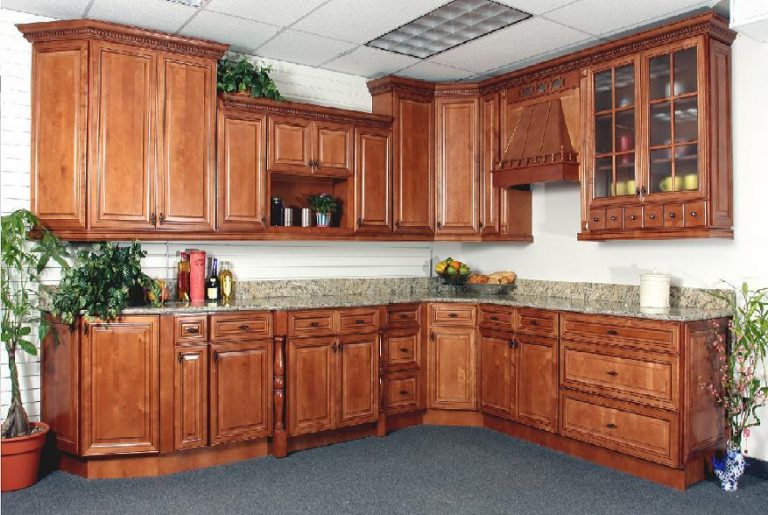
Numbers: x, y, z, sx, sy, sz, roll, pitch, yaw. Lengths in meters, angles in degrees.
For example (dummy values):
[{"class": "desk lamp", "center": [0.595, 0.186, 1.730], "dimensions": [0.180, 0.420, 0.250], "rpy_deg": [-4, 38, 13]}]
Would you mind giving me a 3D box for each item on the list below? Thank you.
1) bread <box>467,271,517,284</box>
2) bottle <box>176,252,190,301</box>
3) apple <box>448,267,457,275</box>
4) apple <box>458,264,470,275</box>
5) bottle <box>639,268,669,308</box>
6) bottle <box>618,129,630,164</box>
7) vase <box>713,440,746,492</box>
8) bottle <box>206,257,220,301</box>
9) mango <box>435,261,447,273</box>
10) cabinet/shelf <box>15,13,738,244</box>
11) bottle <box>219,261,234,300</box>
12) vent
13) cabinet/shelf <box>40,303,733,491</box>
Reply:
[{"class": "bread", "center": [1.227, 0.229, 6.511], "dimensions": [0.543, 0.128, 0.363], "rpy_deg": [1, 8, 6]}, {"class": "bottle", "center": [-1.936, 0.175, 5.539], "dimensions": [0.129, 0.445, 0.255], "rpy_deg": [-3, 9, -19]}, {"class": "apple", "center": [0.772, 0.149, 6.491], "dimensions": [0.090, 0.096, 0.101], "rpy_deg": [4, 3, 28]}, {"class": "apple", "center": [0.925, 0.137, 6.580], "dimensions": [0.085, 0.127, 0.230], "rpy_deg": [3, 8, 20]}, {"class": "bottle", "center": [2.457, 0.295, 5.177], "dimensions": [0.258, 0.303, 0.180], "rpy_deg": [1, 9, 6]}, {"class": "bottle", "center": [2.244, -1.033, 5.346], "dimensions": [0.037, 0.296, 0.152], "rpy_deg": [-8, 12, -44]}, {"class": "vase", "center": [2.873, 1.723, 4.796], "dimensions": [0.211, 0.348, 0.255], "rpy_deg": [4, 9, 25]}, {"class": "bottle", "center": [-1.680, 0.209, 5.634], "dimensions": [0.133, 0.385, 0.360], "rpy_deg": [-3, 9, -18]}, {"class": "mango", "center": [0.675, 0.110, 6.621], "dimensions": [0.122, 0.127, 0.061], "rpy_deg": [5, -13, 31]}, {"class": "cabinet/shelf", "center": [-0.049, -1.141, 5.708], "dimensions": [6.107, 2.056, 1.710], "rpy_deg": [0, 8, 1]}, {"class": "bottle", "center": [-1.570, 0.234, 5.711], "dimensions": [0.150, 0.349, 0.315], "rpy_deg": [-2, 9, -14]}, {"class": "vent", "center": [1.589, -1.190, 5.947], "dimensions": [0.377, 0.893, 1.039], "rpy_deg": [3, -4, -35]}, {"class": "cabinet/shelf", "center": [0.086, 1.135, 5.425], "dimensions": [5.568, 1.425, 1.450], "rpy_deg": [0, 8, 2]}]
